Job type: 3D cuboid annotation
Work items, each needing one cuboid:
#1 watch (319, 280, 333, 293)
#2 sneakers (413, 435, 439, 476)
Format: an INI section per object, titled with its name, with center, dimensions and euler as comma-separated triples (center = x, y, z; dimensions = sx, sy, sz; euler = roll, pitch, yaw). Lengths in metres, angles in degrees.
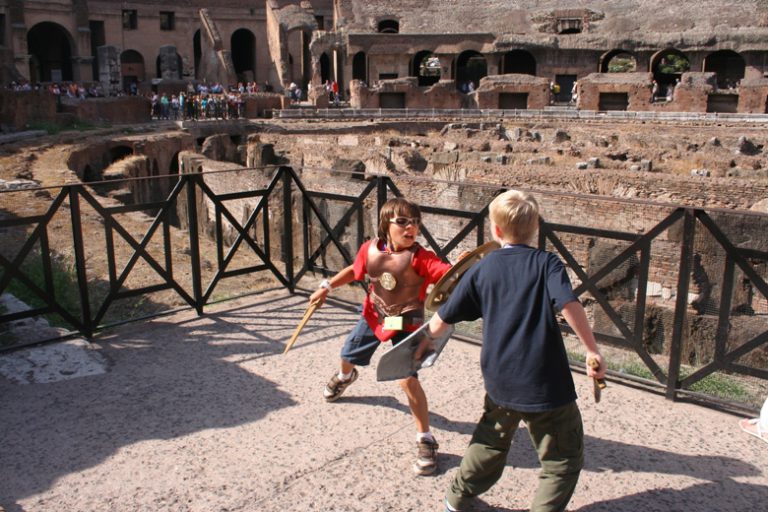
[watch]
center = -0.430, 0.224, 4.425
dimensions = 0.088, 0.043, 0.112
euler = 24, -22, 5
[sneakers]
center = 0.294, 1.393, 4.080
dimensions = 0.126, 0.139, 0.309
euler = 0, 4, 7
